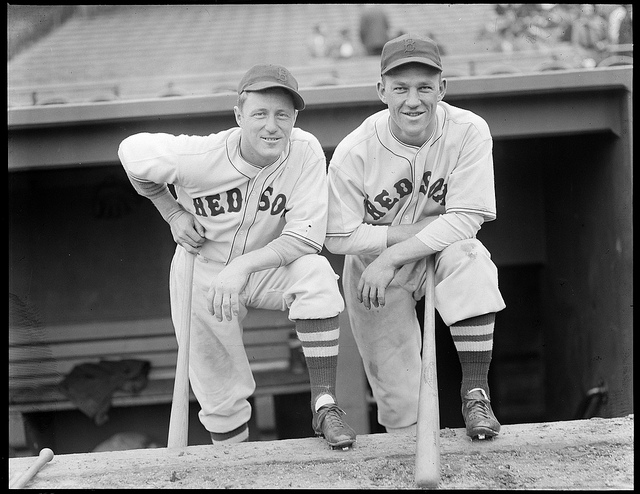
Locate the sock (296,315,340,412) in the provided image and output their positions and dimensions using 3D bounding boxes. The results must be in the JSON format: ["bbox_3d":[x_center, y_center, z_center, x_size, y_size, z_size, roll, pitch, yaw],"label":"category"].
[{"bbox_3d":[0.000,0.509,5.164,0.189,0.404,0.209,-3,11,-4],"label":"sock"}]

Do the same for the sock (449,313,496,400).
[{"bbox_3d":[0.683,0.479,5.197,0.196,0.374,0.170,-1,11,6],"label":"sock"}]

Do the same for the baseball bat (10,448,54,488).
[{"bbox_3d":[-1.249,0.948,5.035,0.055,0.060,0.290,40,15,-4],"label":"baseball bat"}]
